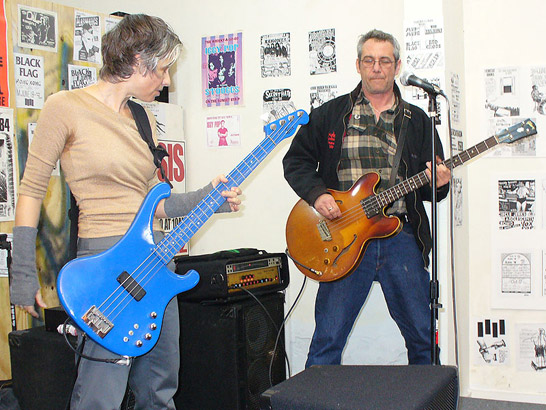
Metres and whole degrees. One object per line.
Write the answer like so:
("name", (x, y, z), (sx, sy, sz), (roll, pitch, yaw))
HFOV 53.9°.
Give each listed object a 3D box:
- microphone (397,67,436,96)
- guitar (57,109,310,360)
("microphone", (0.862, -0.721, 3.191), (0.179, 0.150, 0.193), (1, 6, -5))
("guitar", (-0.430, 0.027, 2.702), (1.566, 0.514, 0.191), (-52, 17, -21))
